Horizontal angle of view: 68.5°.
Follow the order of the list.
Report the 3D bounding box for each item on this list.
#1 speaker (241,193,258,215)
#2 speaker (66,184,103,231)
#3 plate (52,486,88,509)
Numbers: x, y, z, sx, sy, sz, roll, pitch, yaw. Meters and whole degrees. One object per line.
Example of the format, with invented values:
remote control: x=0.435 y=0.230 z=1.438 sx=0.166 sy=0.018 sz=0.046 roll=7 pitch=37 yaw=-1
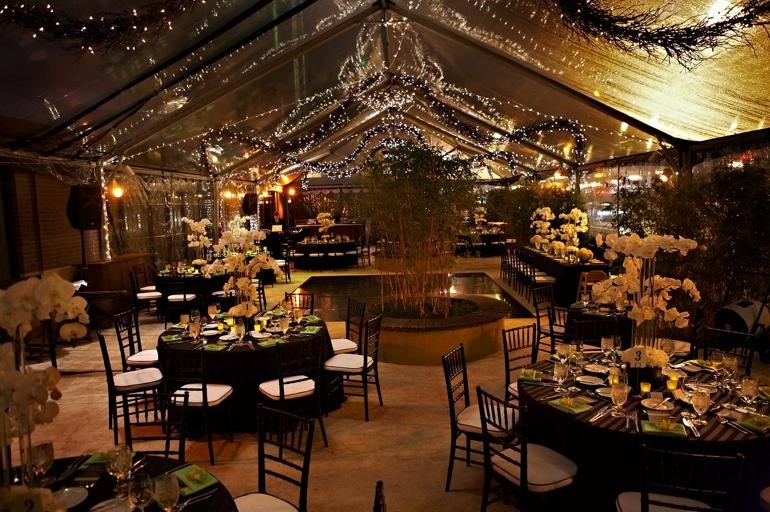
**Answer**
speaker: x=-4.854 y=-1.871 z=20.221 sx=0.845 sy=0.684 sz=1.242 roll=3 pitch=10 yaw=-6
speaker: x=-5.711 y=-0.922 z=10.739 sx=0.604 sy=0.922 sz=0.610 roll=-1 pitch=7 yaw=-33
plate: x=-2.610 y=1.995 z=4.702 sx=0.253 sy=0.116 sz=0.191 roll=1 pitch=4 yaw=31
